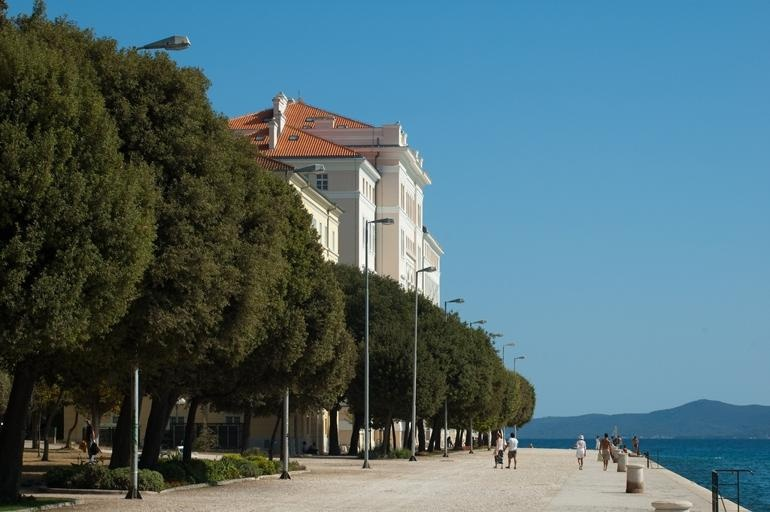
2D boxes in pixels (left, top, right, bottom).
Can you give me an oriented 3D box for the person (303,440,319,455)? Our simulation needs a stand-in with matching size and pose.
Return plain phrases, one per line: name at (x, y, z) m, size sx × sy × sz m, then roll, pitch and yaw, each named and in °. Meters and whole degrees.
person at (-5.777, 14.990, 90.919) m, size 0.960 × 0.653 × 1.438 m, roll 1°, pitch -9°, yaw 1°
